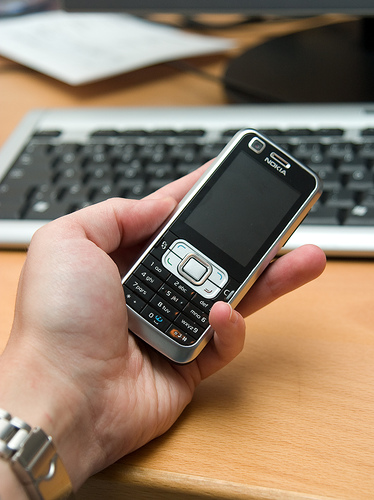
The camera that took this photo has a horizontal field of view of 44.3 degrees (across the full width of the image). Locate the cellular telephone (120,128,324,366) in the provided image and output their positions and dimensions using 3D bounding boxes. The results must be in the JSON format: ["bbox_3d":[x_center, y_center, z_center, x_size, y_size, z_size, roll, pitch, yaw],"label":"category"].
[{"bbox_3d":[0.032,0.001,0.380,0.100,0.047,0.201,39,87,14],"label":"cellular telephone"}]
